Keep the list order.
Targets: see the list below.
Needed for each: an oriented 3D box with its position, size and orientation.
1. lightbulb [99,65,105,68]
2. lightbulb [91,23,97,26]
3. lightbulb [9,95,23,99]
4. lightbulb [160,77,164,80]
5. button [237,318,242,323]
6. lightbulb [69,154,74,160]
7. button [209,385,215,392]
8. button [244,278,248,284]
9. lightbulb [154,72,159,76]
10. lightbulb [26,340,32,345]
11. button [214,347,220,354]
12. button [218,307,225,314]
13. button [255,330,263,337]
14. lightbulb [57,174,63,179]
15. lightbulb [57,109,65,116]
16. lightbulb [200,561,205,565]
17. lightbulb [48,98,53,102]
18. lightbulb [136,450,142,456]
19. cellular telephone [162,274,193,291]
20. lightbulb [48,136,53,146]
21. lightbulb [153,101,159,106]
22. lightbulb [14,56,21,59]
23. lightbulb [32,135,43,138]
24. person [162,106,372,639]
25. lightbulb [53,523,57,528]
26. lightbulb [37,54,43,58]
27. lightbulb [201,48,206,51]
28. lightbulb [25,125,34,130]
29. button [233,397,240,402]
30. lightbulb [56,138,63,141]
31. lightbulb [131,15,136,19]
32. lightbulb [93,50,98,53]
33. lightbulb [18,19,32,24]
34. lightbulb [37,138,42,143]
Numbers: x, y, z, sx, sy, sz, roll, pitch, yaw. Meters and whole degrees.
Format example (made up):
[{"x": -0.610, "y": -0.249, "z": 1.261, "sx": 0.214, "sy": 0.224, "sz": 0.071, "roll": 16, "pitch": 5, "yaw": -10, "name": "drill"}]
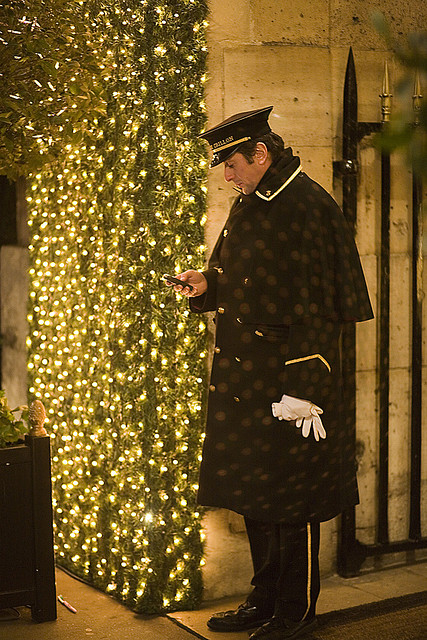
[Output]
[{"x": -0.501, "y": -1.151, "z": 3.657, "sx": 0.020, "sy": 0.016, "sz": 0.019, "roll": -1, "pitch": 0, "yaw": 18, "name": "lightbulb"}, {"x": -0.541, "y": -1.347, "z": 3.671, "sx": 0.020, "sy": 0.017, "sz": 0.010, "roll": -3, "pitch": 4, "yaw": -43, "name": "lightbulb"}, {"x": -0.842, "y": -0.955, "z": 3.457, "sx": 0.050, "sy": 0.007, "sz": 0.016, "roll": 5, "pitch": -40, "yaw": -31, "name": "lightbulb"}, {"x": -0.226, "y": -1.070, "z": 3.565, "sx": 0.014, "sy": 0.013, "sz": 0.008, "roll": -15, "pitch": 32, "yaw": 0, "name": "lightbulb"}, {"x": 0.105, "y": 0.001, "z": 3.176, "sx": 0.023, "sy": 0.018, "sz": 0.006, "roll": 2, "pitch": 0, "yaw": 39, "name": "button"}, {"x": -0.709, "y": -0.818, "z": 4.036, "sx": 0.030, "sy": 0.021, "sz": 0.013, "roll": 2, "pitch": 4, "yaw": 42, "name": "lightbulb"}, {"x": -0.002, "y": 0.273, "z": 3.206, "sx": 0.025, "sy": 0.020, "sz": 0.006, "roll": -6, "pitch": -11, "yaw": 33, "name": "button"}, {"x": 0.129, "y": -0.151, "z": 3.162, "sx": 0.005, "sy": 0.013, "sz": 0.013, "roll": 11, "pitch": -41, "yaw": -30, "name": "button"}, {"x": -0.250, "y": -1.091, "z": 3.561, "sx": 0.020, "sy": 0.008, "sz": 0.017, "roll": 0, "pitch": -11, "yaw": 6, "name": "lightbulb"}, {"x": -0.969, "y": 0.118, "z": 4.264, "sx": 0.029, "sy": 0.024, "sz": 0.027, "roll": -1, "pitch": 3, "yaw": -8, "name": "lightbulb"}, {"x": 0.018, "y": 0.119, "z": 3.210, "sx": 0.022, "sy": 0.017, "sz": 0.007, "roll": -10, "pitch": -9, "yaw": 31, "name": "button"}, {"x": 0.034, "y": -0.039, "z": 3.205, "sx": 0.024, "sy": 0.018, "sz": 0.008, "roll": 5, "pitch": 5, "yaw": 36, "name": "button"}, {"x": 0.180, "y": 0.053, "z": 3.148, "sx": 0.029, "sy": 0.017, "sz": 0.008, "roll": 0, "pitch": 3, "yaw": 0, "name": "button"}, {"x": -0.783, "y": -0.737, "z": 4.140, "sx": 0.016, "sy": 0.021, "sz": 0.045, "roll": -2, "pitch": 3, "yaw": -36, "name": "lightbulb"}, {"x": -0.673, "y": -0.922, "z": 3.573, "sx": 0.012, "sy": 0.048, "sz": 0.013, "roll": 41, "pitch": 5, "yaw": -22, "name": "lightbulb"}, {"x": -0.047, "y": 1.104, "z": 3.657, "sx": 0.031, "sy": 0.015, "sz": 0.007, "roll": 5, "pitch": 9, "yaw": -7, "name": "lightbulb"}, {"x": -0.703, "y": -0.958, "z": 3.503, "sx": 0.010, "sy": 0.016, "sz": 0.021, "roll": 2, "pitch": 4, "yaw": 37, "name": "lightbulb"}, {"x": -0.326, "y": 0.594, "z": 3.605, "sx": 0.028, "sy": 0.019, "sz": 0.023, "roll": 0, "pitch": -6, "yaw": 3, "name": "lightbulb"}, {"x": -0.135, "y": -0.145, "z": 3.149, "sx": 0.053, "sy": 0.061, "sz": 0.216, "roll": 1, "pitch": 3, "yaw": 19, "name": "cellular telephone"}, {"x": -0.728, "y": -0.806, "z": 3.631, "sx": 0.020, "sy": 0.036, "sz": 0.021, "roll": -2, "pitch": 4, "yaw": -28, "name": "lightbulb"}, {"x": -0.248, "y": -0.959, "z": 3.559, "sx": 0.020, "sy": 0.012, "sz": 0.020, "roll": 11, "pitch": 13, "yaw": 39, "name": "lightbulb"}, {"x": -0.831, "y": -1.119, "z": 3.434, "sx": 0.023, "sy": 0.012, "sz": 0.005, "roll": -1, "pitch": 3, "yaw": -13, "name": "lightbulb"}, {"x": -0.773, "y": -0.816, "z": 3.571, "sx": 0.025, "sy": 0.013, "sz": 0.046, "roll": 1, "pitch": 3, "yaw": 30, "name": "lightbulb"}, {"x": 0.247, "y": 0.229, "z": 3.250, "sx": 0.762, "sy": 2.139, "sz": 0.335, "roll": 0, "pitch": 3, "yaw": 8, "name": "person"}, {"x": -0.809, "y": 1.062, "z": 4.152, "sx": 0.017, "sy": 0.025, "sz": 0.039, "roll": -1, "pitch": 3, "yaw": -15, "name": "lightbulb"}, {"x": -0.731, "y": -1.122, "z": 3.421, "sx": 0.008, "sy": 0.022, "sz": 0.009, "roll": -1, "pitch": 27, "yaw": 44, "name": "lightbulb"}, {"x": -0.043, "y": -1.220, "z": 3.628, "sx": 0.020, "sy": 0.005, "sz": 0.026, "roll": 1, "pitch": -2, "yaw": 22, "name": "lightbulb"}, {"x": -0.796, "y": -0.842, "z": 3.517, "sx": 0.017, "sy": 0.015, "sz": 0.039, "roll": 2, "pitch": 3, "yaw": 41, "name": "lightbulb"}, {"x": 0.094, "y": 0.313, "z": 3.162, "sx": 0.023, "sy": 0.018, "sz": 0.006, "roll": 2, "pitch": 4, "yaw": 33, "name": "button"}, {"x": -0.704, "y": -0.827, "z": 3.689, "sx": 0.016, "sy": 0.013, "sz": 0.011, "roll": -6, "pitch": -18, "yaw": 36, "name": "lightbulb"}, {"x": -0.353, "y": -1.353, "z": 3.590, "sx": 0.012, "sy": 0.011, "sz": 0.006, "roll": -4, "pitch": 13, "yaw": 10, "name": "lightbulb"}, {"x": -0.526, "y": -1.208, "z": 3.626, "sx": 0.019, "sy": 0.009, "sz": 0.004, "roll": 4, "pitch": 1, "yaw": 13, "name": "lightbulb"}, {"x": -0.799, "y": -1.272, "z": 3.429, "sx": 0.061, "sy": 0.018, "sz": 0.009, "roll": 12, "pitch": 9, "yaw": 1, "name": "lightbulb"}, {"x": -0.770, "y": -0.803, "z": 3.605, "sx": 0.011, "sy": 0.020, "sz": 0.028, "roll": 1, "pitch": 3, "yaw": 20, "name": "lightbulb"}]
